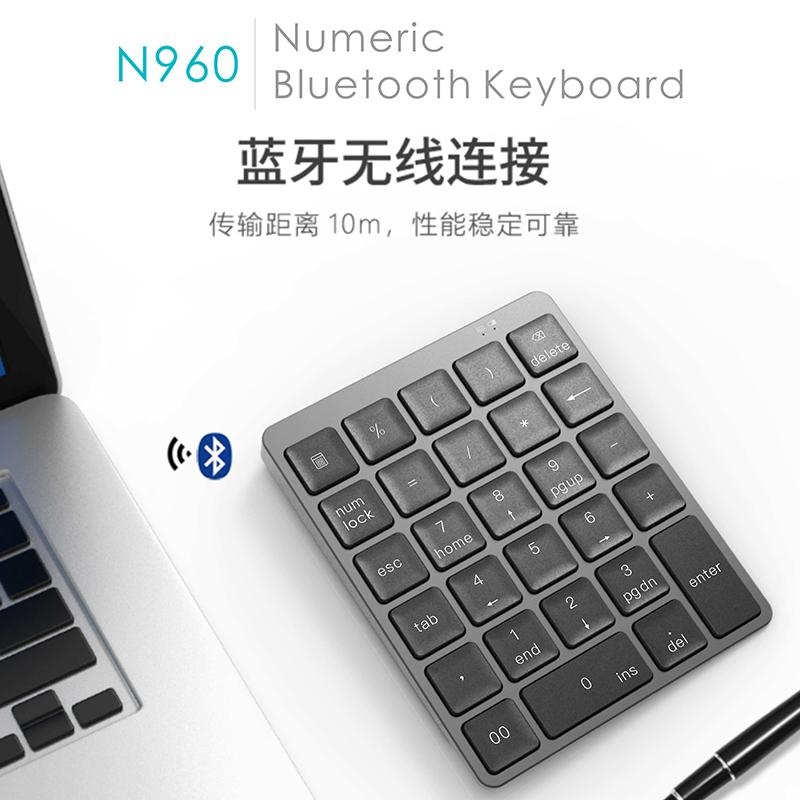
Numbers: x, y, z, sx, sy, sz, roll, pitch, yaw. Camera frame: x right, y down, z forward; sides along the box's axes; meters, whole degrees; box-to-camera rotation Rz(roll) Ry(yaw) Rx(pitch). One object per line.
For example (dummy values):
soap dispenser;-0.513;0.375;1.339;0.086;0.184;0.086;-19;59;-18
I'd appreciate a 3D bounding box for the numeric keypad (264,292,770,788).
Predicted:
numeric keypad;0.055;0.059;0.415;0.192;0.208;0.084;-23;-42;-9
